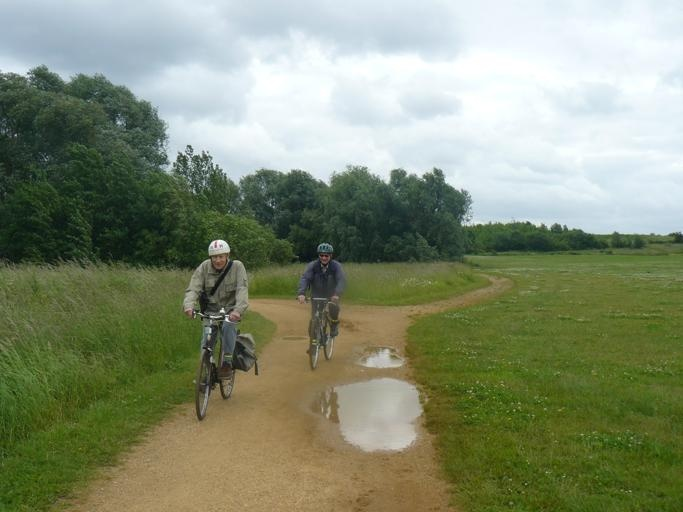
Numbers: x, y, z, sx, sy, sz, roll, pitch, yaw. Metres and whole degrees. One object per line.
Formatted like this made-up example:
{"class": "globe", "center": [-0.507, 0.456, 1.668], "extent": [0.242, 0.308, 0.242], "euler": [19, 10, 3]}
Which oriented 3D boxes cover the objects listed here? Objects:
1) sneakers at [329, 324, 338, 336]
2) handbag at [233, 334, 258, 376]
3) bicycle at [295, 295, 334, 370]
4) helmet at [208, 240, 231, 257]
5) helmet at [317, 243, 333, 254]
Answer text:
{"class": "sneakers", "center": [-0.176, 2.148, 18.487], "extent": [0.271, 0.428, 0.291], "euler": [3, -4, -16]}
{"class": "handbag", "center": [-2.301, 2.419, 15.550], "extent": [0.511, 0.916, 0.843], "euler": [-7, -14, -9]}
{"class": "bicycle", "center": [-0.573, 2.130, 17.944], "extent": [0.511, 2.019, 1.428], "euler": [7, 16, 29]}
{"class": "helmet", "center": [-2.884, -0.191, 15.022], "extent": [0.397, 0.457, 0.533], "euler": [0, 15, -6]}
{"class": "helmet", "center": [-0.453, -0.197, 17.773], "extent": [0.358, 0.358, 0.649], "euler": [-1, 14, 0]}
